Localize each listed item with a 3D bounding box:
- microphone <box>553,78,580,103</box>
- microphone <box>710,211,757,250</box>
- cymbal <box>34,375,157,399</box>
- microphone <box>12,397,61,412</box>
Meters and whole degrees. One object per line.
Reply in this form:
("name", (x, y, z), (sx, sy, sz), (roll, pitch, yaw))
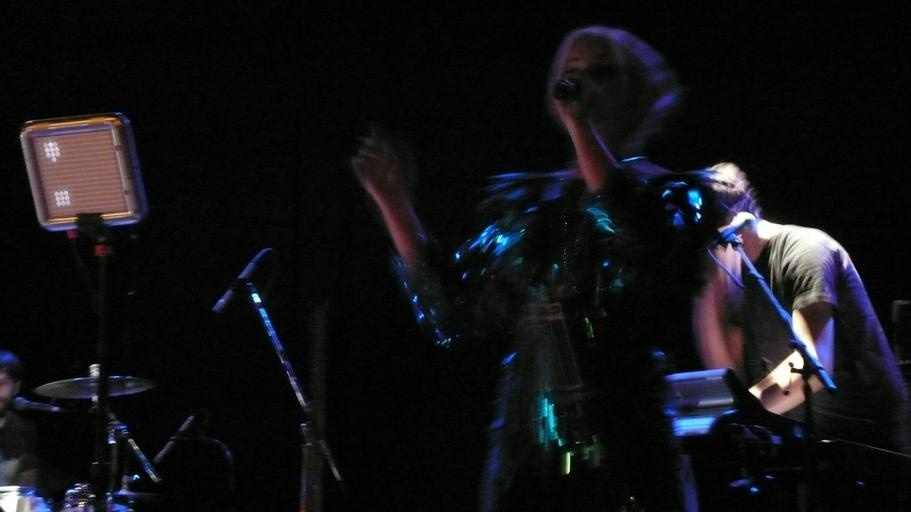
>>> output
("microphone", (0.601, -0.899, 5.770), (0.140, 0.127, 0.049), (-3, -11, 4))
("microphone", (1.710, -0.157, 6.630), (0.210, 0.146, 0.435), (12, 26, 21))
("cymbal", (-2.442, 0.907, 7.390), (0.684, 0.150, 1.023), (5, -10, -38))
("microphone", (-2.914, 1.039, 7.507), (0.164, 0.053, 0.356), (-5, -8, 20))
